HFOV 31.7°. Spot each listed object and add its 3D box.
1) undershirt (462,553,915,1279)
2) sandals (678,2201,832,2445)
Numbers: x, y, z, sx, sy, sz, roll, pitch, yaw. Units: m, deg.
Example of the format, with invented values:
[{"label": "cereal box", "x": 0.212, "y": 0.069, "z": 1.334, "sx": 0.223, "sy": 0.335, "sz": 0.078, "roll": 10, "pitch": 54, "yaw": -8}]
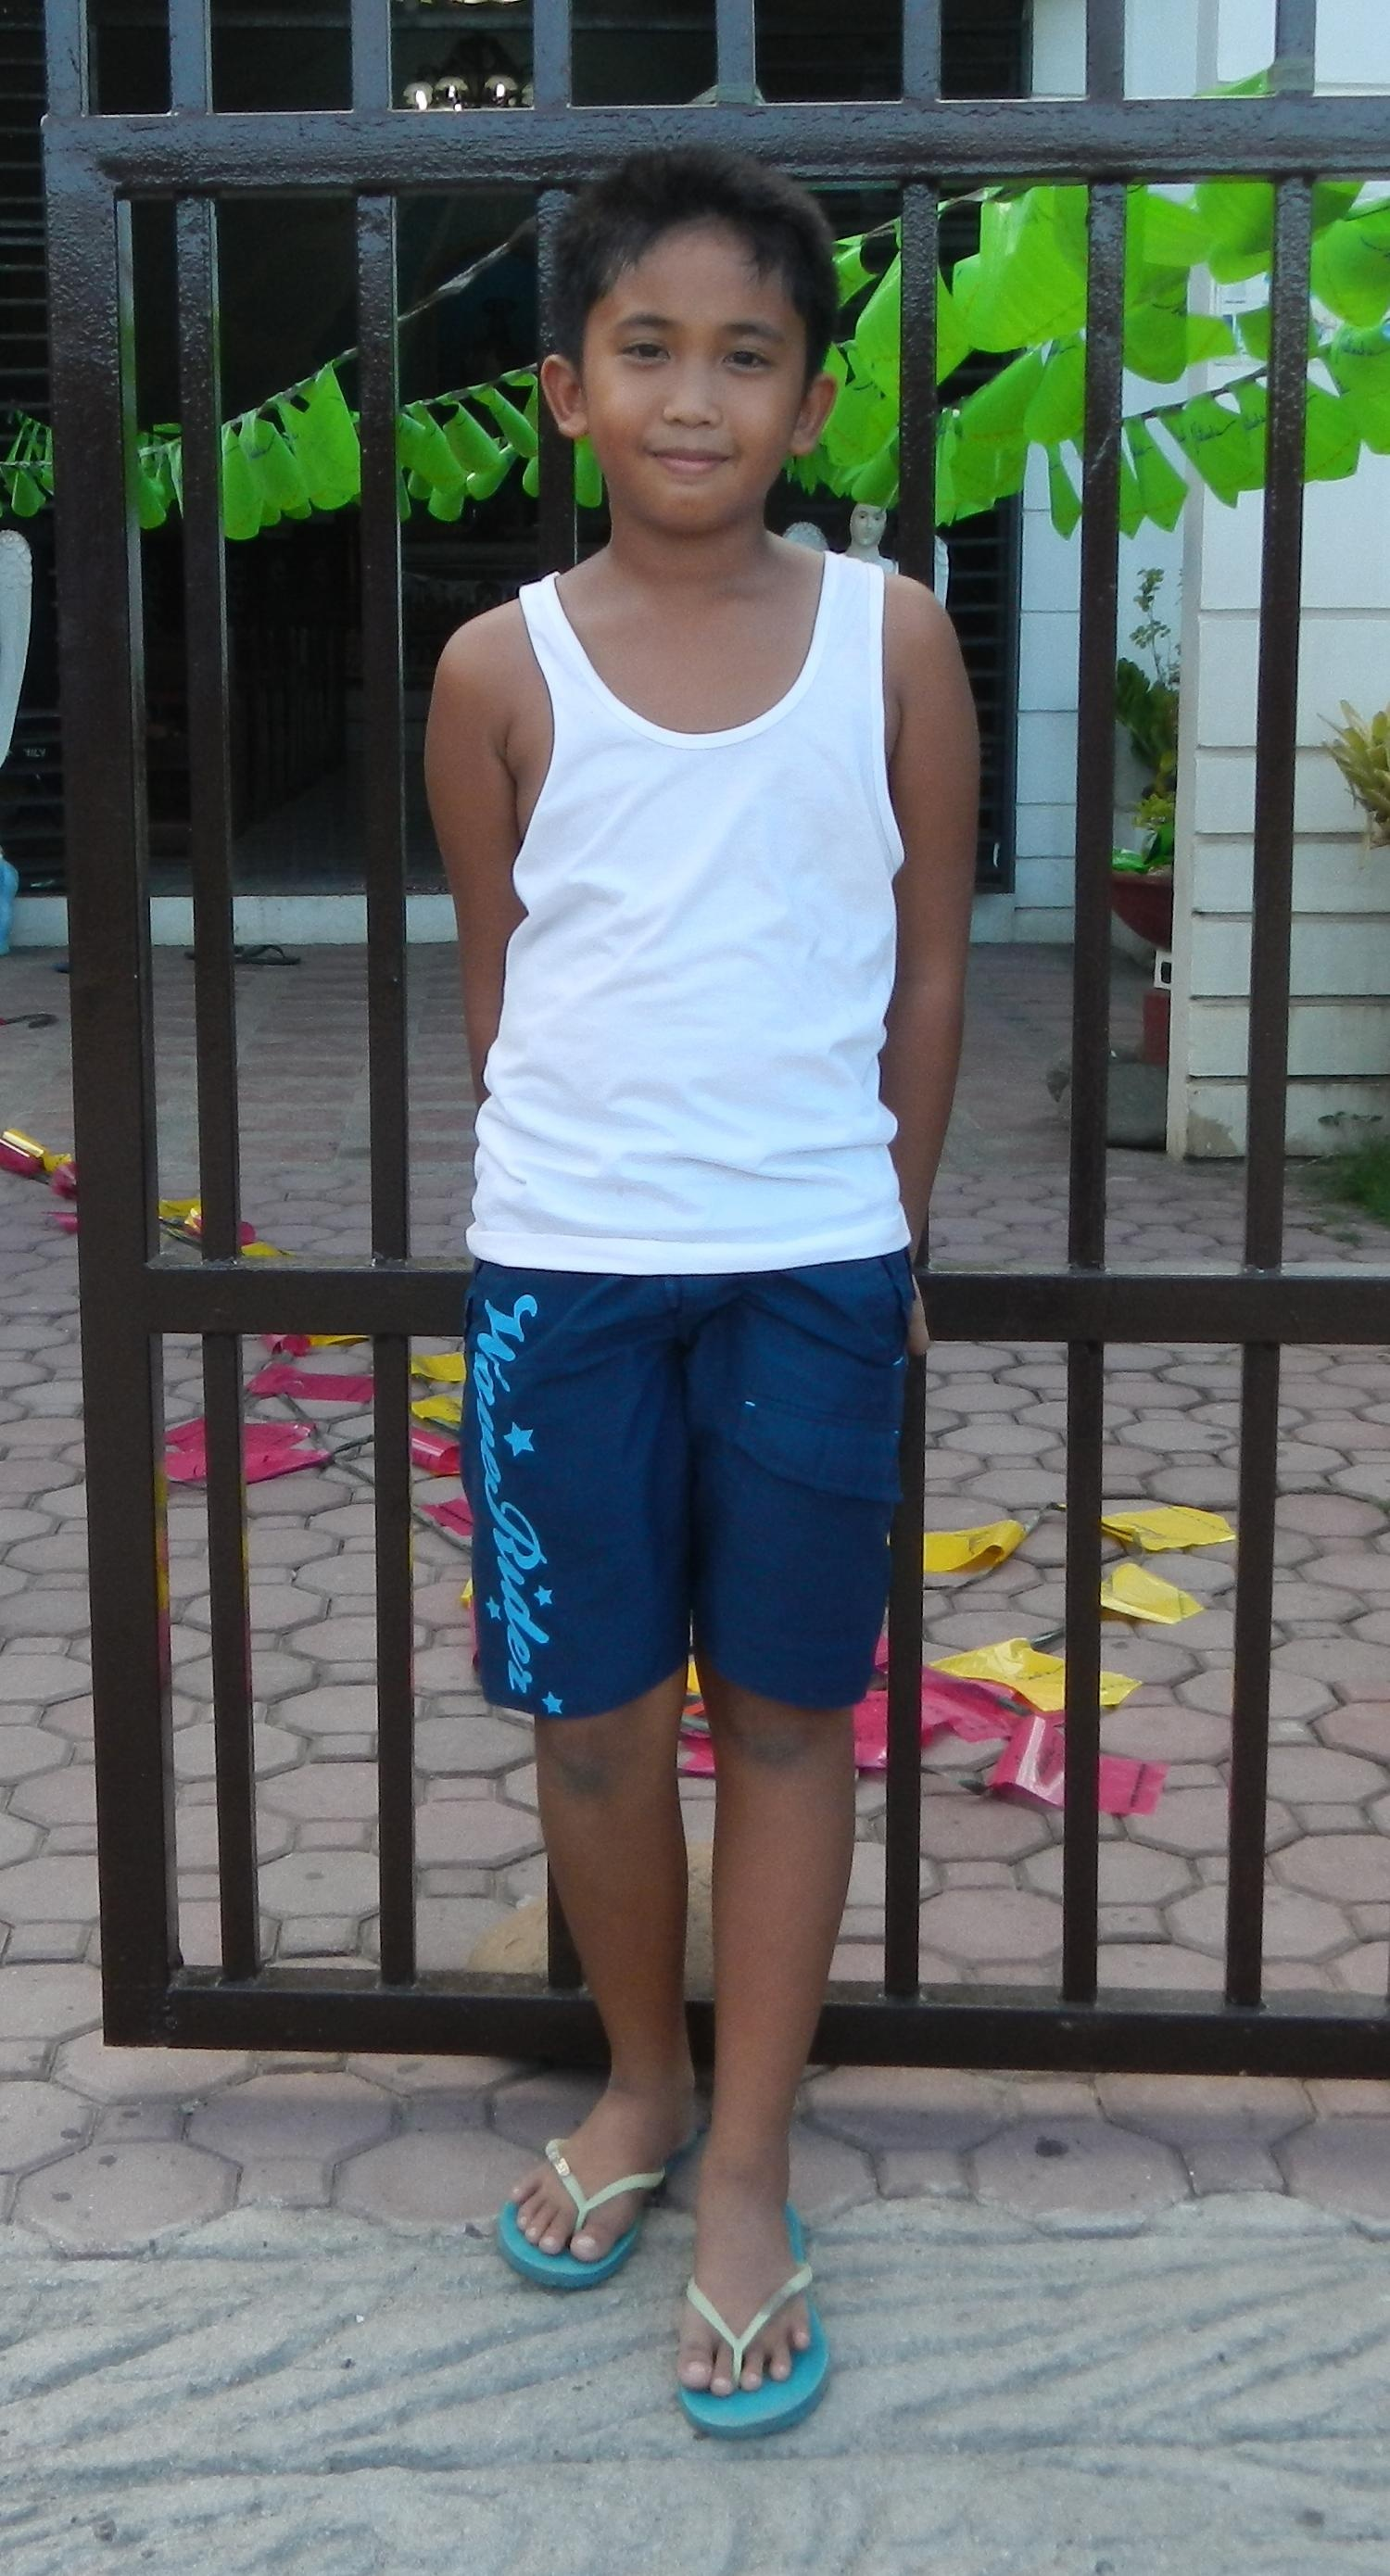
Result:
[{"label": "undershirt", "x": -0.007, "y": -0.263, "z": 1.727, "sx": 0.315, "sy": 0.495, "sz": 0.174, "roll": -1, "pitch": 10, "yaw": -3}, {"label": "sandals", "x": 0.042, "y": 0.753, "z": 1.814, "sx": 0.105, "sy": 0.056, "sz": 0.274, "roll": -9, "pitch": 17, "yaw": 3}]
